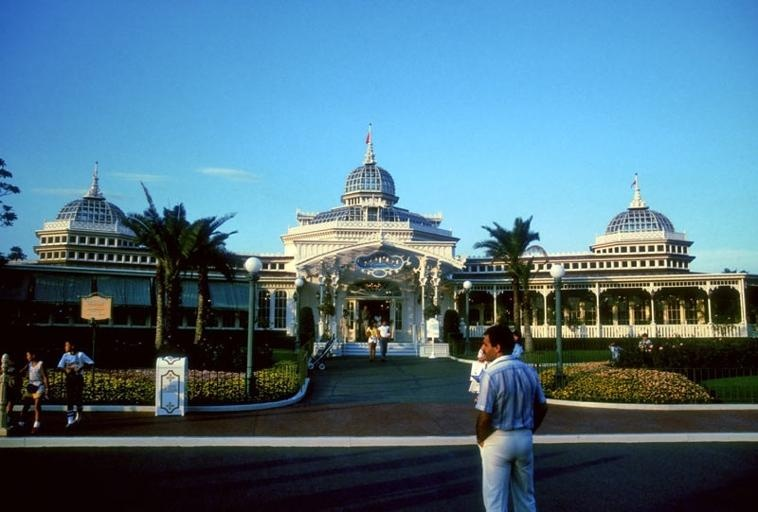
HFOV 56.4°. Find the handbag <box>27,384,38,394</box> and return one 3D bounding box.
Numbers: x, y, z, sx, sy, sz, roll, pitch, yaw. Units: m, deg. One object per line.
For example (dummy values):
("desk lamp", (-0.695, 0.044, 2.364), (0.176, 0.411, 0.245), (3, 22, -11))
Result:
("handbag", (-8.844, 3.416, 18.115), (0.349, 0.257, 0.198), (3, -16, -29))

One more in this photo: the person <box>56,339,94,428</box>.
("person", (-7.983, 3.373, 18.655), (0.779, 2.176, 1.059), (2, -9, -22))

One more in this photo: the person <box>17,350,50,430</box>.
("person", (-8.871, 3.494, 18.238), (0.609, 2.012, 1.078), (3, -10, -27))
